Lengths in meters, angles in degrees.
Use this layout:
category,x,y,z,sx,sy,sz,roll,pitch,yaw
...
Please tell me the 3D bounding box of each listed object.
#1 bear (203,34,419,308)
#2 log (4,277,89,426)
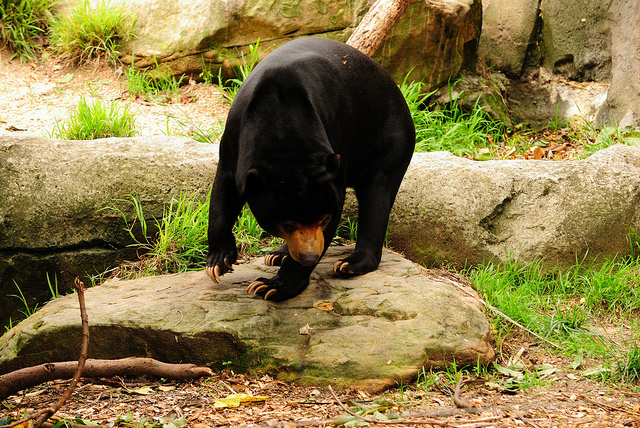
category,x,y,z,sx,sy,sz,roll,pitch,yaw
bear,-0.081,-0.465,6.219,1.267,2.206,1.725,23,25,37
log,-1.919,0.996,5.013,0.451,1.228,0.739,8,20,3
